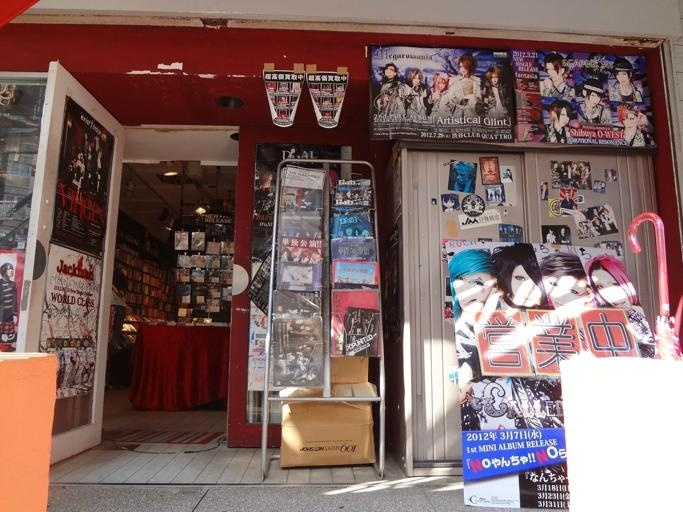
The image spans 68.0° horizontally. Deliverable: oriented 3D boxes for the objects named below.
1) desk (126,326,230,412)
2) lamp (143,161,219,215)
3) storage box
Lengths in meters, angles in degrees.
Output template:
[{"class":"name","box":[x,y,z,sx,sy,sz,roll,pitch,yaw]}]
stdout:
[{"class":"desk","box":[-1.860,1.273,5.760,1.054,0.869,0.659,7,-10,-3]},{"class":"lamp","box":[-2.516,-1.056,8.179,1.036,1.126,0.785,1,16,5]},{"class":"storage box","box":[-0.085,1.108,3.776,0.634,0.672,0.670,0,-4,-1]}]
